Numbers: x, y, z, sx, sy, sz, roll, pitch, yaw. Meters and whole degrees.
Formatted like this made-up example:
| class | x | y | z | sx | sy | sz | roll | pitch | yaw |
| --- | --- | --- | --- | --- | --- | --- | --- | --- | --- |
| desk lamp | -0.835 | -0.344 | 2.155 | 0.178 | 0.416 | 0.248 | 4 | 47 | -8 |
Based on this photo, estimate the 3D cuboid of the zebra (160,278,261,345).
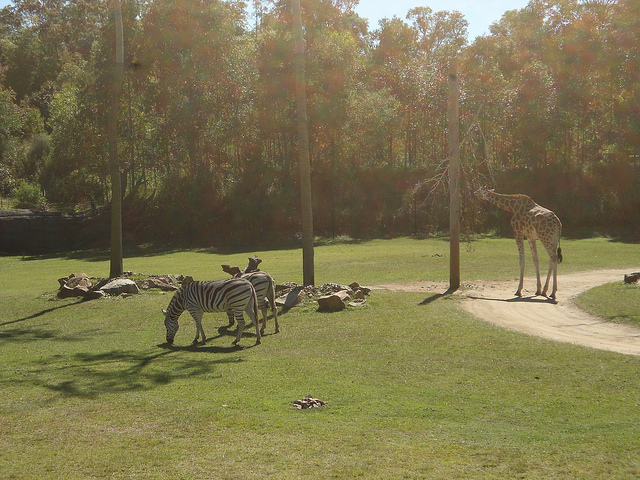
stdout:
| class | x | y | z | sx | sy | sz | roll | pitch | yaw |
| --- | --- | --- | --- | --- | --- | --- | --- | --- | --- |
| zebra | -2.991 | 2.029 | 20.696 | 2.616 | 1.849 | 0.684 | 0 | 12 | 5 |

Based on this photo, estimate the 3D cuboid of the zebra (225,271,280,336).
| class | x | y | z | sx | sy | sz | roll | pitch | yaw |
| --- | --- | --- | --- | --- | --- | --- | --- | --- | --- |
| zebra | -2.173 | 1.563 | 22.737 | 2.830 | 2.404 | 0.875 | 1 | 2 | 42 |
